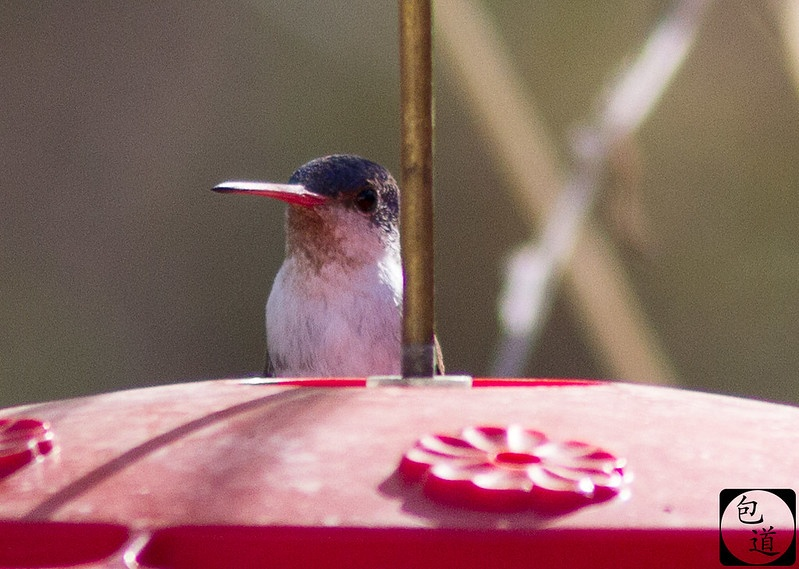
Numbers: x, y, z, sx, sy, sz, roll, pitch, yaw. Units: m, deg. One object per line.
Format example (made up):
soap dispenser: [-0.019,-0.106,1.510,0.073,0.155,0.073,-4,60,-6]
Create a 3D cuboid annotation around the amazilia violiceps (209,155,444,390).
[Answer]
amazilia violiceps: [-0.192,-0.041,3.489,0.390,0.615,0.489,0,6,-1]
